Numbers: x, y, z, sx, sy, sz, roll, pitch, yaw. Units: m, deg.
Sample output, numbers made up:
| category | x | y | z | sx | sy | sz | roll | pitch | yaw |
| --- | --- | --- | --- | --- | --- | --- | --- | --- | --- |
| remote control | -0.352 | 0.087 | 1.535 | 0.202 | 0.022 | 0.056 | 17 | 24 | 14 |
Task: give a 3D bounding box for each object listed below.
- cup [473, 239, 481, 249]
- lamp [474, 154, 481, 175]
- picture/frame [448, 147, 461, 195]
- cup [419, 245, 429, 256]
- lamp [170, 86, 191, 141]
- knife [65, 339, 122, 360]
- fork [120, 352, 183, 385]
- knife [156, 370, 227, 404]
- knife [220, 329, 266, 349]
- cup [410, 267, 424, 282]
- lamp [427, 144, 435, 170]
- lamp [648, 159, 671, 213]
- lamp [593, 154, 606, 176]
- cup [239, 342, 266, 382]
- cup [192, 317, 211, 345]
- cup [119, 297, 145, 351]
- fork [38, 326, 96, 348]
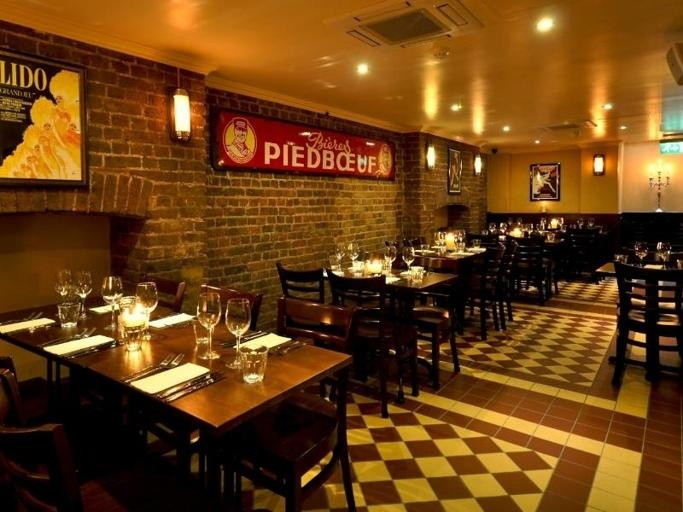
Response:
| category | x | y | z | sx | sy | sz | roll | pitch | yaw |
| --- | --- | --- | --- | --- | --- | --- | --- | --- | --- |
| cup | 2.090 | -0.193 | 7.526 | 0.148 | 0.158 | 0.148 | 2 | 3 | 0 |
| lamp | 3.279 | -2.212 | 11.689 | 0.193 | 0.491 | 0.953 | 6 | 13 | 14 |
| picture/frame | 2.338 | -1.794 | 10.120 | 0.079 | 1.016 | 1.042 | 0 | 5 | 26 |
| cup | 1.178 | -0.083 | 6.870 | 0.157 | 0.167 | 0.158 | -1 | 3 | 0 |
| lamp | -1.580 | -1.397 | 4.794 | 0.167 | 0.501 | 0.118 | -3 | 14 | -24 |
| knife | -1.535 | 0.585 | 3.068 | 0.083 | 0.017 | 0.251 | 11 | 13 | 32 |
| fork | -1.076 | 0.623 | 2.816 | 0.084 | 0.049 | 0.371 | 10 | 19 | 30 |
| knife | -0.814 | 0.716 | 2.660 | 0.100 | 0.032 | 0.381 | 17 | 19 | 36 |
| knife | -0.611 | 0.553 | 3.289 | 0.097 | 0.025 | 0.383 | 2 | 10 | 35 |
| cup | 0.796 | 0.182 | 5.063 | 0.142 | 0.146 | 0.137 | -1 | -1 | 0 |
| lamp | 1.684 | -1.873 | 9.103 | 0.131 | 0.449 | 0.540 | 7 | 13 | 16 |
| lamp | 7.494 | -1.697 | 11.505 | 0.473 | 1.144 | 0.133 | 11 | 15 | 30 |
| lamp | 5.988 | -2.131 | 11.304 | 0.285 | 0.495 | 0.114 | 9 | 14 | 25 |
| cup | -0.502 | 0.607 | 2.804 | 0.156 | 0.150 | 0.291 | 1 | 13 | -11 |
| cup | -0.946 | 0.508 | 3.233 | 0.144 | 0.164 | 0.140 | -2 | -3 | 0 |
| cup | -1.378 | 0.417 | 3.234 | 0.159 | 0.273 | 0.455 | -3 | 14 | -25 |
| fork | -1.795 | 0.520 | 3.253 | 0.079 | 0.047 | 0.342 | 5 | 11 | 16 |
